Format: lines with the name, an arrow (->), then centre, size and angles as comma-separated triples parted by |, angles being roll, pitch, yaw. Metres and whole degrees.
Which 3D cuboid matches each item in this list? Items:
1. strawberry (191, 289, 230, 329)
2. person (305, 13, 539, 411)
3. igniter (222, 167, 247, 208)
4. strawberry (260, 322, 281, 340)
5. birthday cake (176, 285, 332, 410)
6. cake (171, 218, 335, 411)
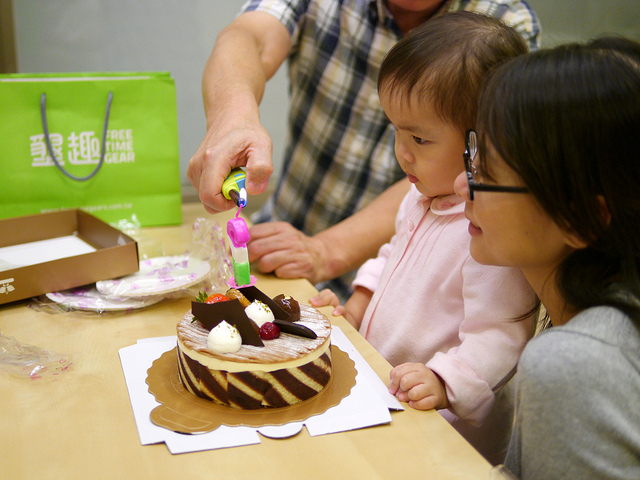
strawberry -> -0.290, 0.164, 1.433 | 0.086, 0.092, 0.055 | 34, -11, -37
person -> 0.340, -0.038, 1.691 | 0.539, 1.198, 0.855 | -8, 23, -17
igniter -> -0.223, -0.144, 1.461 | 0.056, 0.041, 0.102 | -21, 53, -19
strawberry -> -0.123, 0.223, 1.334 | 0.036, 0.031, 0.038 | -7, 15, -22
birthday cake -> -0.163, 0.241, 1.416 | 0.383, 0.250, 0.390 | -5, 10, -36
cake -> -0.199, 0.174, 1.395 | 0.347, 0.395, 0.378 | -3, 18, 19
